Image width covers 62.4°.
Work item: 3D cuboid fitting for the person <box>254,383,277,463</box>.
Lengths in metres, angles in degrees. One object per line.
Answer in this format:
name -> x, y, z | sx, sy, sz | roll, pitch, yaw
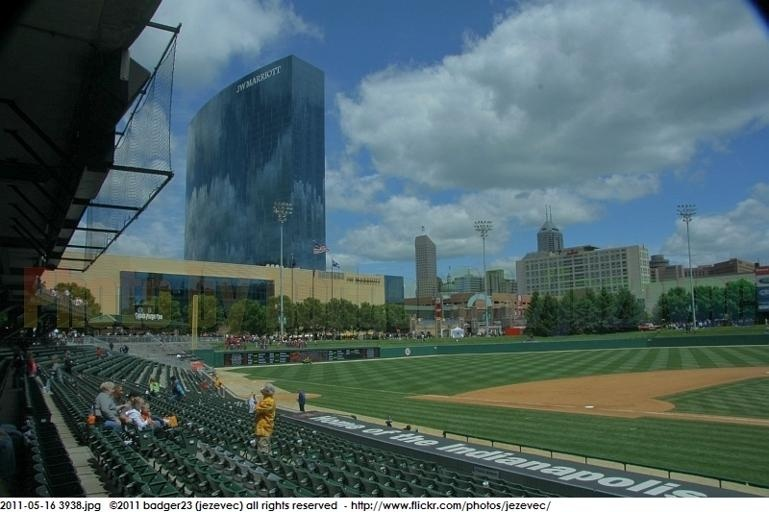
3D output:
person -> -3.406, 4.675, 18.131 | 0.512, 1.985, 1.144 | 3, -11, -12
